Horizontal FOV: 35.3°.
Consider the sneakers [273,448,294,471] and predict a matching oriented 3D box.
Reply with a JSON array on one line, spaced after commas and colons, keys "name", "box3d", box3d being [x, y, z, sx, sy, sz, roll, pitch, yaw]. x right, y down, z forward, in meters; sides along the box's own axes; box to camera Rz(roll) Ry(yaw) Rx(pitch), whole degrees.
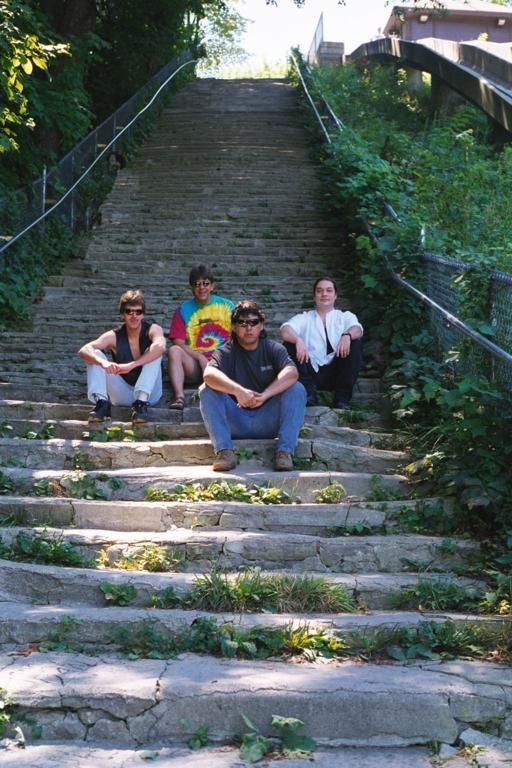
[{"name": "sneakers", "box3d": [0.166, 0.458, 4.798, 0.109, 0.114, 0.142, 4, 7, -2]}]

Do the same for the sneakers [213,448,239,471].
[{"name": "sneakers", "box3d": [-0.177, 0.467, 4.813, 0.072, 0.114, 0.195, -2, -16, 8]}]

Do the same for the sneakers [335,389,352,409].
[{"name": "sneakers", "box3d": [0.638, 0.108, 5.859, 0.081, 0.165, 0.182, 4, -17, 1]}]

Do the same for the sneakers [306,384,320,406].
[{"name": "sneakers", "box3d": [0.417, 0.097, 5.819, 0.069, 0.079, 0.194, -1, -13, 6]}]

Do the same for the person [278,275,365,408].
[{"name": "person", "box3d": [0.541, -0.324, 6.023, 0.598, 0.988, 0.595, -5, -16, 28]}]

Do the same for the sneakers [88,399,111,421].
[{"name": "sneakers", "box3d": [-1.036, 0.167, 5.398, 0.100, 0.143, 0.303, 4, 6, 4]}]

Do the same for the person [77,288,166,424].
[{"name": "person", "box3d": [-0.907, -0.198, 5.637, 0.605, 0.849, 0.963, 0, 8, 4]}]

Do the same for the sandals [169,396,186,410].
[{"name": "sandals", "box3d": [-0.559, 0.130, 5.730, 0.102, 0.076, 0.180, 3, 6, -5]}]

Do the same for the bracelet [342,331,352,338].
[{"name": "bracelet", "box3d": [0.655, -0.358, 5.887, 0.055, 0.032, 0.048, 0, -21, 14]}]
